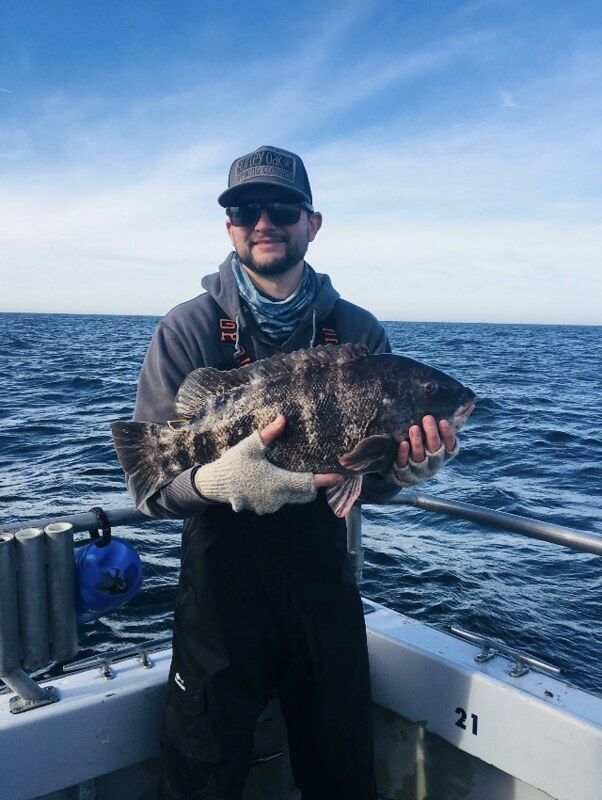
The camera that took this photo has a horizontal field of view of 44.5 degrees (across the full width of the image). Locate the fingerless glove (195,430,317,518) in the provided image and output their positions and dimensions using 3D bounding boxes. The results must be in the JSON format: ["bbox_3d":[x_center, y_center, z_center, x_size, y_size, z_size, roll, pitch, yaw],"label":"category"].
[{"bbox_3d":[-0.174,0.285,2.888,0.474,0.303,0.169,2,10,-8],"label":"fingerless glove"}]

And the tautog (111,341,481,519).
[{"bbox_3d":[-0.102,0.158,3.314,1.756,0.768,1.144,-2,11,-6],"label":"tautog"}]

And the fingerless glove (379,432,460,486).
[{"bbox_3d":[0.508,0.277,3.146,0.276,0.091,0.207,-20,11,-13],"label":"fingerless glove"}]

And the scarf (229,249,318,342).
[{"bbox_3d":[-0.113,-0.446,3.450,0.364,0.412,0.211,-3,-12,-8],"label":"scarf"}]
